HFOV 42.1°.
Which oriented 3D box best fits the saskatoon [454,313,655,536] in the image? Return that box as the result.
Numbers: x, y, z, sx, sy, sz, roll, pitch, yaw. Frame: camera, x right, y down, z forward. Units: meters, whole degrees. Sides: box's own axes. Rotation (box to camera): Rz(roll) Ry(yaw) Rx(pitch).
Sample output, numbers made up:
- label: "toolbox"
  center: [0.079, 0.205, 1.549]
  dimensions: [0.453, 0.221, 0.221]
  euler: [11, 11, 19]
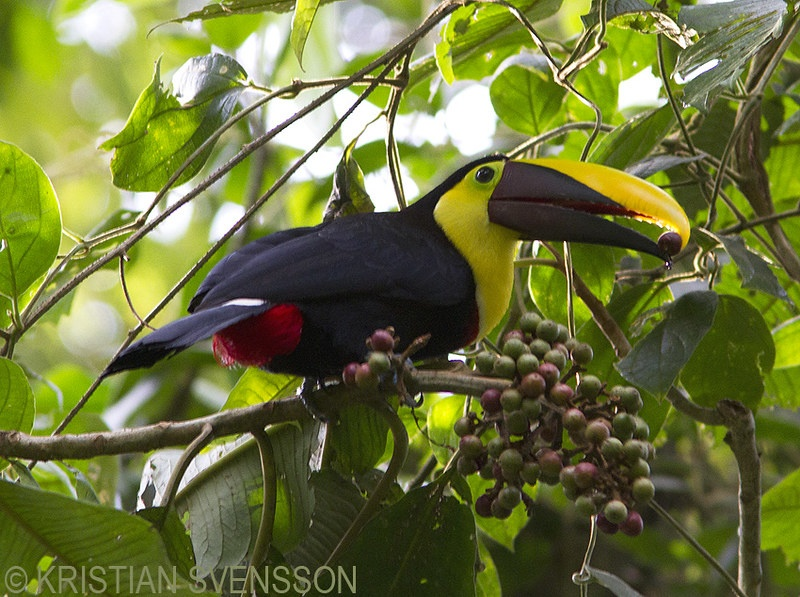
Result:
- label: "saskatoon"
  center: [0.353, 0.294, 2.362]
  dimensions: [0.448, 0.423, 0.305]
  euler: [10, -42, 5]

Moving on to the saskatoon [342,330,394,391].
- label: "saskatoon"
  center: [-0.070, 0.157, 2.358]
  dimensions: [0.132, 0.107, 0.167]
  euler: [3, -44, 13]

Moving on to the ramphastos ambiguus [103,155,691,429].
- label: "ramphastos ambiguus"
  center: [0.016, -0.051, 2.736]
  dimensions: [1.395, 0.702, 0.513]
  euler: [5, -15, -5]

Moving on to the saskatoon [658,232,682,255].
- label: "saskatoon"
  center: [0.631, -0.127, 2.409]
  dimensions: [0.041, 0.059, 0.046]
  euler: [-17, -88, 15]
